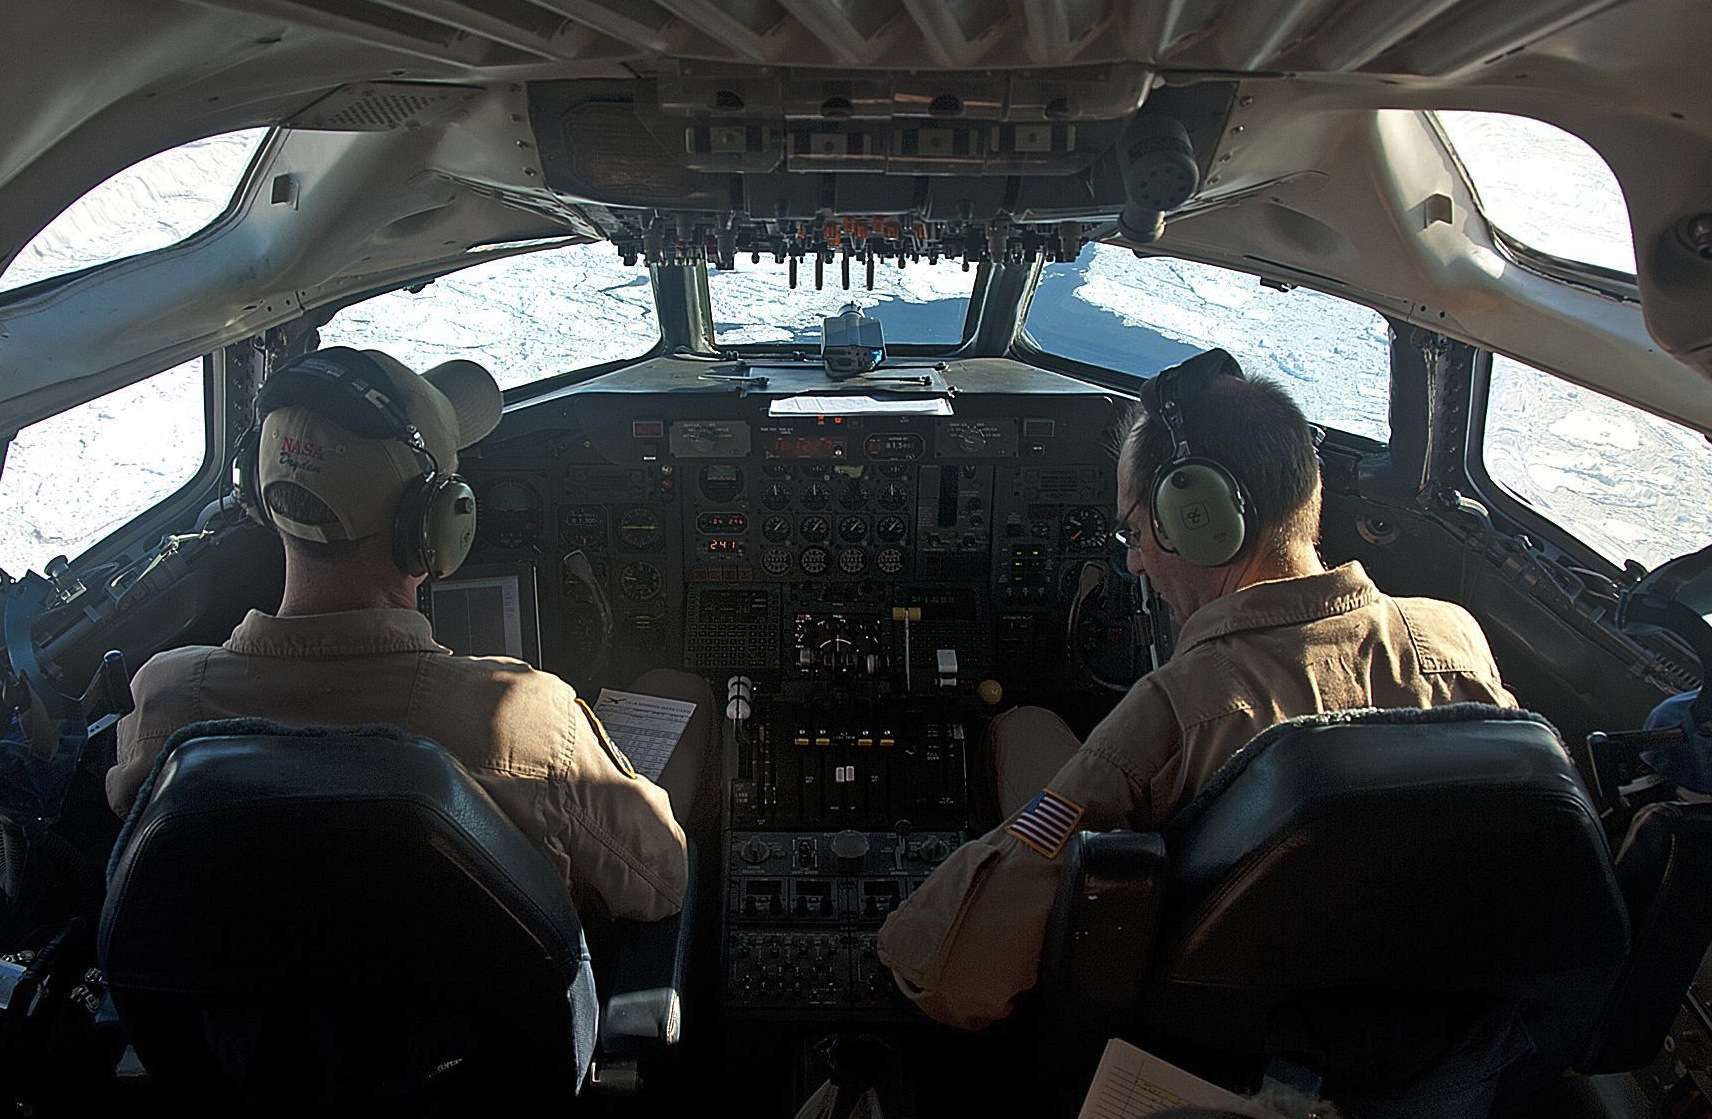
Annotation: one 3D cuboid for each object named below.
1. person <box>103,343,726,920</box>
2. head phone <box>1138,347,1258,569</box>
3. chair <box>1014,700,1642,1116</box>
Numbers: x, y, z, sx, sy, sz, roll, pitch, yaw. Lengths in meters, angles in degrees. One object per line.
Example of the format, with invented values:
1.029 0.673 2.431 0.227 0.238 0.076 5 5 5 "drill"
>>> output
-1.101 0.286 3.118 1.625 1.410 0.836 1 0 16 "person"
0.786 -0.214 2.896 0.183 0.387 0.420 -12 -19 16 "head phone"
0.875 0.629 2.704 0.907 0.860 0.881 0 22 -2 "chair"
